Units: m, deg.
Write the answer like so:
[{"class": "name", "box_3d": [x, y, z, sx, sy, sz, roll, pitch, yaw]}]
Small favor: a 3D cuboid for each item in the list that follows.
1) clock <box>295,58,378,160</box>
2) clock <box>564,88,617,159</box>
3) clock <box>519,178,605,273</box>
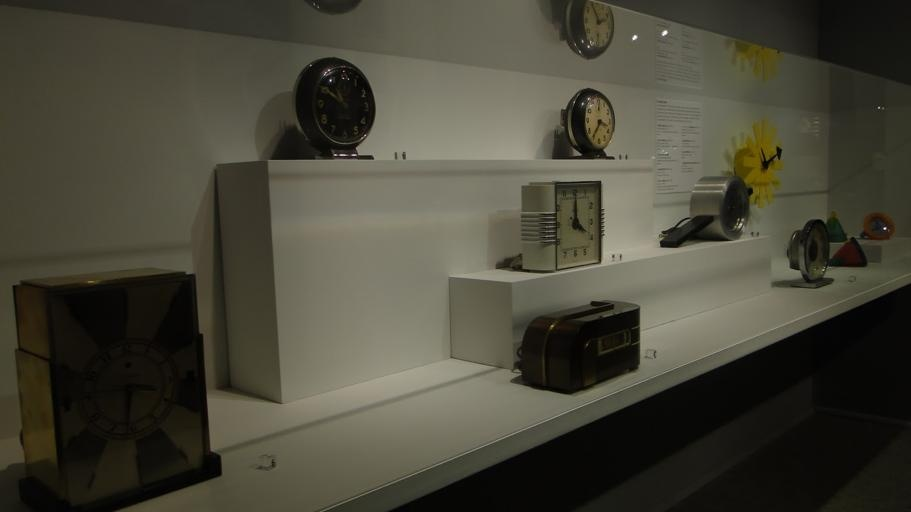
[{"class": "clock", "box_3d": [-0.261, -0.317, 1.346, 0.189, 0.205, 0.216, -5, 12, -14]}, {"class": "clock", "box_3d": [0.435, -0.424, 1.945, 0.181, 0.202, 0.082, -4, 12, -9]}, {"class": "clock", "box_3d": [0.305, -0.084, 1.706, 0.260, 0.242, 0.111, -8, 10, -38]}]
